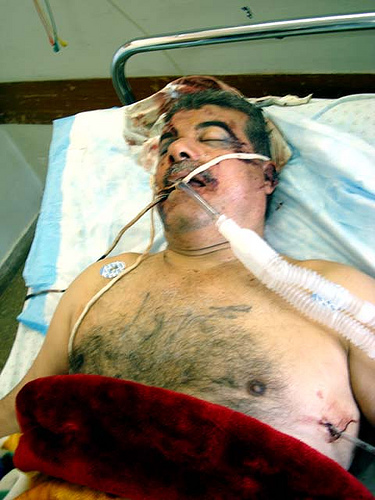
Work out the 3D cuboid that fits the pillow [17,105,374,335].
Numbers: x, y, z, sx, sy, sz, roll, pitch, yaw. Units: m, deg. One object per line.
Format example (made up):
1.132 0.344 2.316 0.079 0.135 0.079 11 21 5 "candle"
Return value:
0.146 -0.083 1.765 1.257 0.294 0.703 -2 74 34 "pillow"
